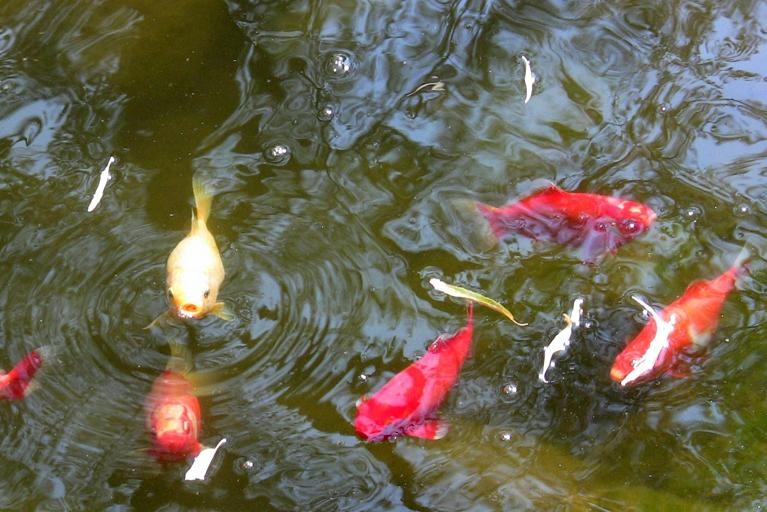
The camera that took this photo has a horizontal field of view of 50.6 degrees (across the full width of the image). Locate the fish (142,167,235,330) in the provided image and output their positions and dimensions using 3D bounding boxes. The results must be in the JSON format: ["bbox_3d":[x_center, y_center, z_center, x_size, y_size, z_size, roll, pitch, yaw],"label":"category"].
[{"bbox_3d":[-1.347,-0.067,5.810,0.457,0.573,1.043,0,53,-5],"label":"fish"}]

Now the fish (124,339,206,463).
[{"bbox_3d":[-1.437,0.975,5.494,0.336,0.368,0.712,0,56,-10],"label":"fish"}]
